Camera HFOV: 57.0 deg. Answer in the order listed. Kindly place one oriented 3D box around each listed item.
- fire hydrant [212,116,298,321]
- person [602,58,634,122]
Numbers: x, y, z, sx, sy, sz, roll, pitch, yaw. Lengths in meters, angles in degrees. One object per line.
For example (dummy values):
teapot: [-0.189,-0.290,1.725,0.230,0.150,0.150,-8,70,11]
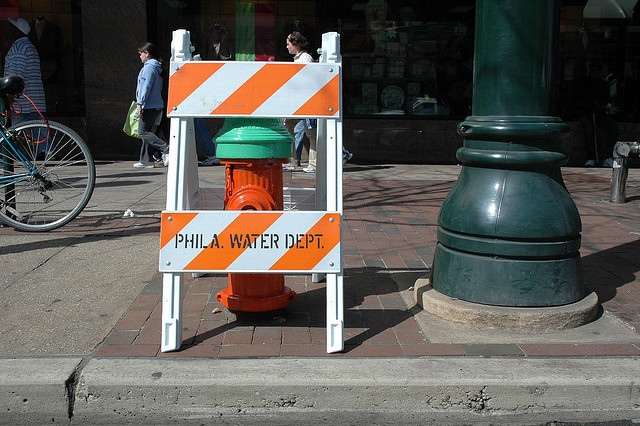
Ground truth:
fire hydrant: [-0.554,0.062,4.932,0.708,1.696,0.645,-3,14,-6]
person: [6.970,-2.831,13.761,0.625,1.410,0.465,6,15,25]
